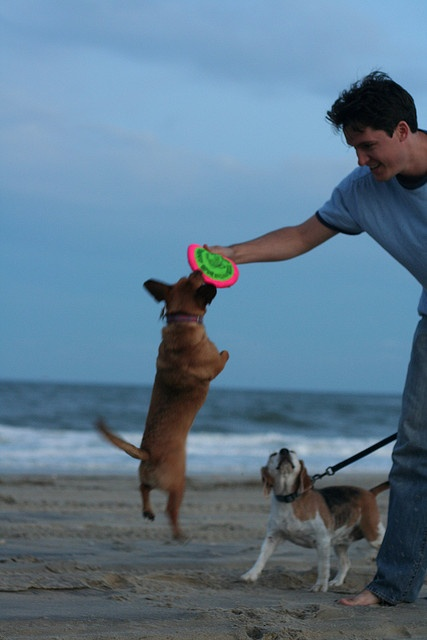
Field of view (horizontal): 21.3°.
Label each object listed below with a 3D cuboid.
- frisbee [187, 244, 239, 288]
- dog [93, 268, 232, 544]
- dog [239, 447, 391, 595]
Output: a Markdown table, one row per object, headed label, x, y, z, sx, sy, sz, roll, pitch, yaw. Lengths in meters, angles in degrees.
| label | x | y | z | sx | sy | sz | roll | pitch | yaw |
| --- | --- | --- | --- | --- | --- | --- | --- | --- | --- |
| frisbee | 0.000 | -0.258 | 5.492 | 0.241 | 0.147 | 0.278 | 4 | -2 | 0 |
| dog | -0.450 | 0.373 | 5.489 | 0.531 | 1.371 | 0.974 | 5 | -1 | -13 |
| dog | 0.831 | 1.350 | 7.563 | 1.581 | 0.822 | 0.449 | 8 | -15 | -42 |
